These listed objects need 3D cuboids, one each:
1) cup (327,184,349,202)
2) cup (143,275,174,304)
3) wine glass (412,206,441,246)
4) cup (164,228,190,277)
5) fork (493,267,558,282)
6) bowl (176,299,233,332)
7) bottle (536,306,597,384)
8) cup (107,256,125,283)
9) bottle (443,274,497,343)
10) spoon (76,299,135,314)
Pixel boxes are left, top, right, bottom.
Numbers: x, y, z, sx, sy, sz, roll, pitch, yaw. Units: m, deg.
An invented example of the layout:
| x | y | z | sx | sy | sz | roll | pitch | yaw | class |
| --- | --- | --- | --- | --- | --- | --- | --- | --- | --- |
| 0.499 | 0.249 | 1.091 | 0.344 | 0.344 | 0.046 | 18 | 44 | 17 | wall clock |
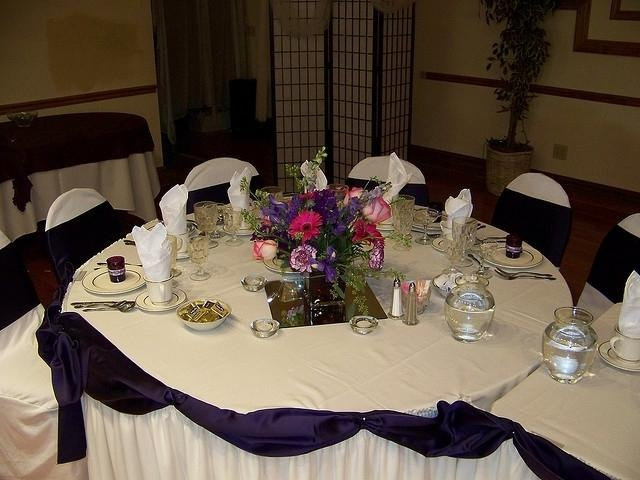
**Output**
| x | y | z | sx | sy | sz | roll | pitch | yaw | class |
| --- | --- | --- | --- | --- | --- | --- | --- | --- | --- |
| 0.087 | -0.235 | 2.223 | 0.108 | 0.101 | 0.125 | -4 | 16 | -4 | cup |
| -0.630 | 0.202 | 1.833 | 0.076 | 0.087 | 0.104 | -3 | 29 | -13 | cup |
| 0.545 | -0.076 | 2.439 | 0.152 | 0.151 | 0.166 | -3 | 9 | -10 | wine glass |
| -0.633 | 0.058 | 2.054 | 0.148 | 0.178 | 0.124 | 1 | 25 | -8 | cup |
| 0.906 | 0.156 | 2.072 | 0.253 | 0.044 | 0.040 | 3 | 10 | 6 | fork |
| -0.436 | 0.273 | 1.750 | 0.117 | 0.050 | 0.129 | 8 | 20 | 12 | bowl |
| 0.811 | 0.314 | 1.623 | 0.193 | 0.292 | 0.211 | -4 | 20 | 1 | bottle |
| -0.859 | 0.124 | 2.018 | 0.080 | 0.106 | 0.090 | 1 | 9 | -4 | cup |
| 0.565 | 0.219 | 1.772 | 0.176 | 0.269 | 0.200 | 3 | 16 | 18 | bottle |
| -0.840 | 0.264 | 1.848 | 0.214 | 0.037 | 0.085 | 0 | 24 | -11 | spoon |
